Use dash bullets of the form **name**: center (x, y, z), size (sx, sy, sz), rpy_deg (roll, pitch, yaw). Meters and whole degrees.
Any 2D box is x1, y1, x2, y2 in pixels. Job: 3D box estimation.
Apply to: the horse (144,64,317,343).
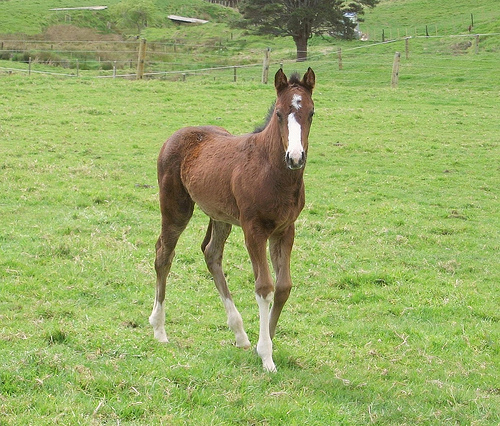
- **horse**: center (-0.313, -0.114, 9.337), size (2.066, 3.810, 3.090), rpy_deg (-1, 15, -9)
